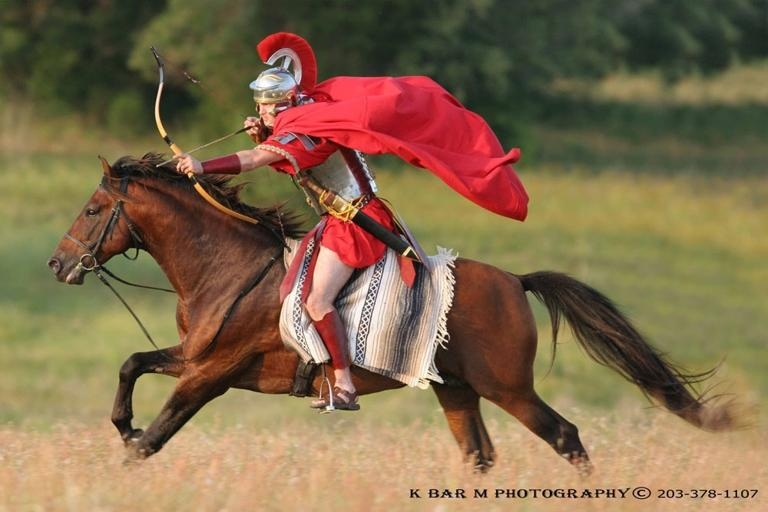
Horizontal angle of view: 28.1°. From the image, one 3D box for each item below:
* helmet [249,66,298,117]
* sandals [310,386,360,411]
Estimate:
[{"bbox_3d":[-1.228,-1.831,17.011,0.592,0.432,0.445,-8,24,-22],"label":"helmet"},{"bbox_3d":[-0.527,1.587,16.931,0.645,0.242,0.210,3,-7,-8],"label":"sandals"}]
